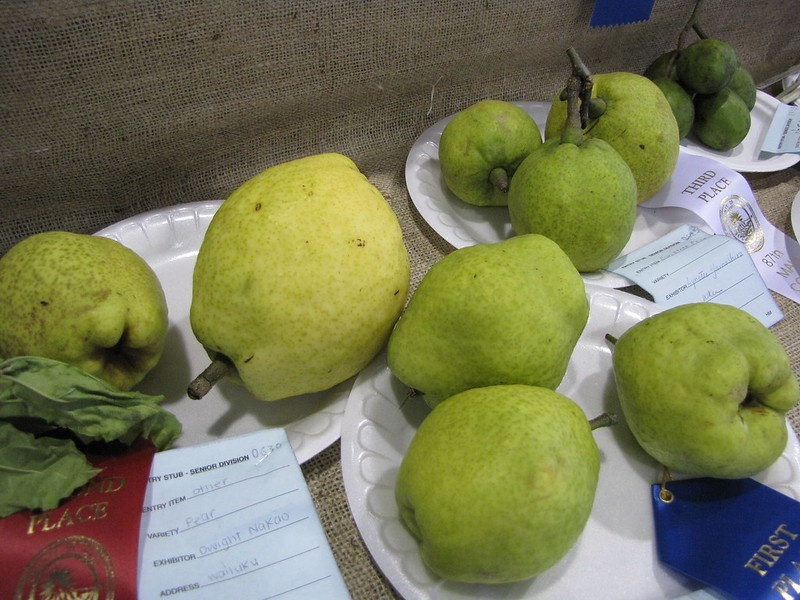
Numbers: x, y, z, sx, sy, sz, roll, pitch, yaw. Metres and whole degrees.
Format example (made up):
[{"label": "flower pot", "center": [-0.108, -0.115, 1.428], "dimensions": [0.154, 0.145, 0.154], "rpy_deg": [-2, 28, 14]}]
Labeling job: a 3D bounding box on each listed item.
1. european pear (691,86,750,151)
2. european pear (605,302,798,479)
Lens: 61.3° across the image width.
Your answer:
[{"label": "european pear", "center": [0.591, -0.328, 1.243], "dimensions": [0.083, 0.114, 0.088], "rpy_deg": [-3, 21, 32]}, {"label": "european pear", "center": [0.396, 0.109, 0.853], "dimensions": [0.204, 0.109, 0.218], "rpy_deg": [-17, 64, -11]}]
